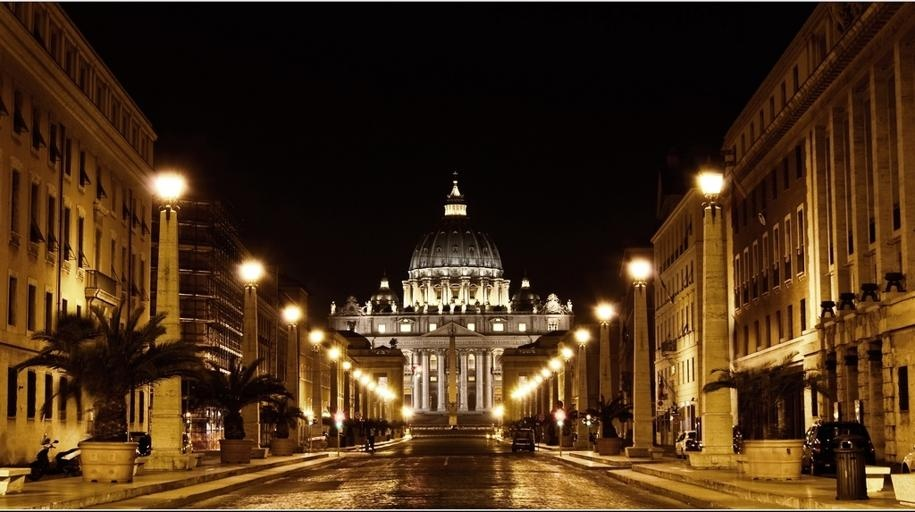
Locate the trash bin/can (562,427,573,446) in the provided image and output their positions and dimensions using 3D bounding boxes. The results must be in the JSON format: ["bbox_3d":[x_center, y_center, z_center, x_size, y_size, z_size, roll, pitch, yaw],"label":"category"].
[{"bbox_3d":[10.286,16.802,94.658,1.153,1.483,1.537,-1,-1,6],"label":"trash bin/can"}]

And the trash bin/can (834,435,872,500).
[{"bbox_3d":[14.396,7.706,37.610,1.318,2.324,1.366,-6,-7,27],"label":"trash bin/can"}]
